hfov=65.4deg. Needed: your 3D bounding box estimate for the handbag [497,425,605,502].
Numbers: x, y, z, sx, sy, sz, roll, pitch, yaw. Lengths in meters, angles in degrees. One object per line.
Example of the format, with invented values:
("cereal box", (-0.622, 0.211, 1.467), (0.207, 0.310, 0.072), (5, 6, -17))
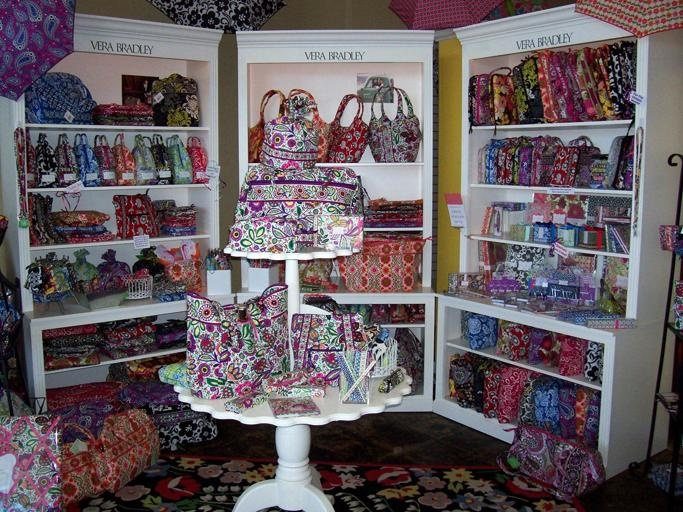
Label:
("handbag", (1.376, 1.334, 3.495), (0.364, 0.167, 0.471), (-13, 23, -39))
